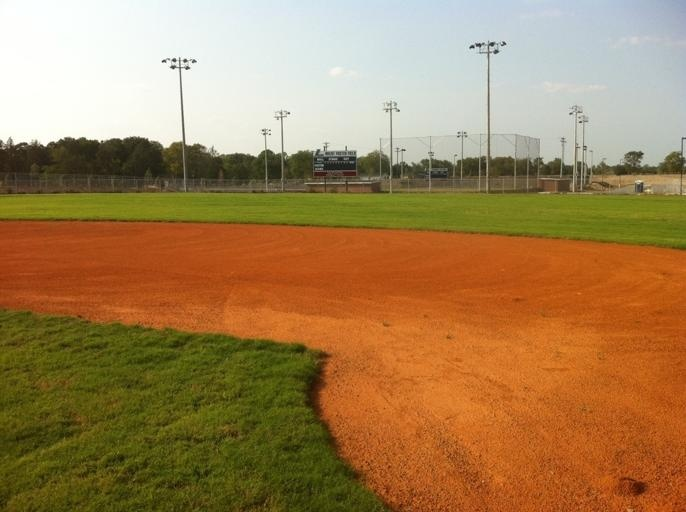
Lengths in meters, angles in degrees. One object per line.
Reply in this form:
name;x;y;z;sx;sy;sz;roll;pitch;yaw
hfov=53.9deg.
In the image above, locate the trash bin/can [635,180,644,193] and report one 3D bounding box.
trash bin/can;26.094;-6.099;59.201;0.800;1.047;2.405;7;17;23
